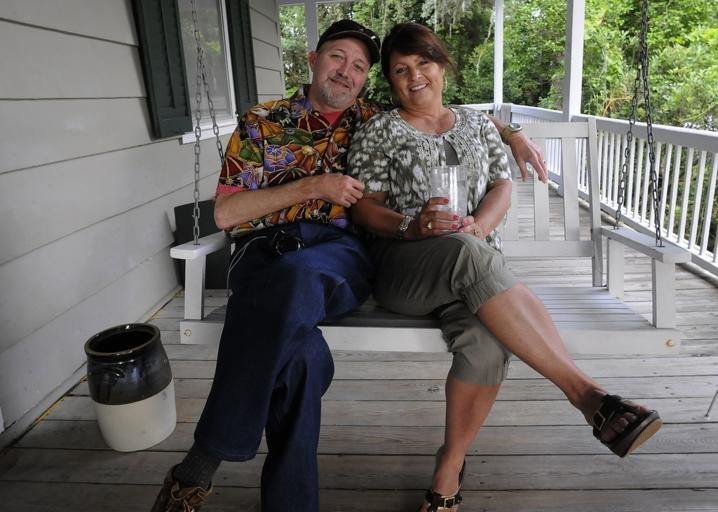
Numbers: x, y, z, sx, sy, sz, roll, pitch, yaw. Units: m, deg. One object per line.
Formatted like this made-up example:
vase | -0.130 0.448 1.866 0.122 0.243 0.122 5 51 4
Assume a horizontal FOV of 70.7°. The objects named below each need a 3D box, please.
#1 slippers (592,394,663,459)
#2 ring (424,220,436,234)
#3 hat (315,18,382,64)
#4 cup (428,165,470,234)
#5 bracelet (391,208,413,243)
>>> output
slippers | 0.897 0.579 1.785 0.150 0.123 0.273 -42 -4 -2
ring | 0.287 -0.112 1.989 0.034 0.017 0.047 12 26 -9
hat | -0.042 -0.994 2.384 0.158 0.151 0.416 -4 11 -23
cup | 0.367 -0.225 2.042 0.168 0.242 0.153 -3 14 1
bracelet | 0.191 -0.128 2.087 0.039 0.106 0.079 10 30 -18
